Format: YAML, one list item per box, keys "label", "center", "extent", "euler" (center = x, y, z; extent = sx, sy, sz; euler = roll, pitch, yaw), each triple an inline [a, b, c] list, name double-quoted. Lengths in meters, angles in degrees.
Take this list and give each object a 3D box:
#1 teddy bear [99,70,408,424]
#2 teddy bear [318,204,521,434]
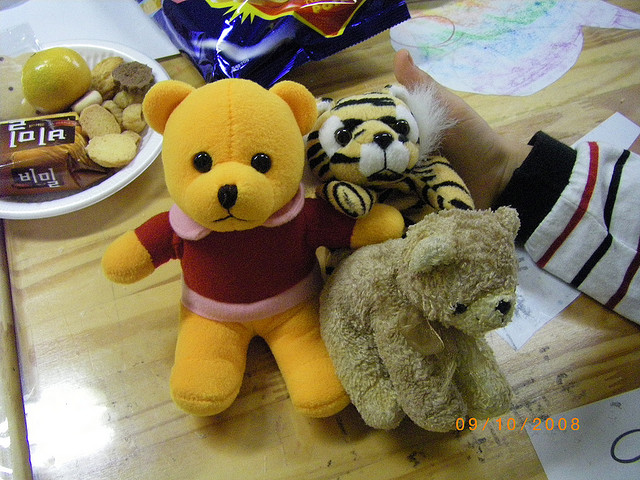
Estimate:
- label: "teddy bear"
  center: [-0.098, 0.036, 0.873]
  extent: [0.526, 0.525, 0.350]
  euler: [-2, 38, -4]
- label: "teddy bear"
  center: [0.146, 0.101, 0.888]
  extent: [0.291, 0.315, 0.329]
  euler: [-16, 24, -34]
